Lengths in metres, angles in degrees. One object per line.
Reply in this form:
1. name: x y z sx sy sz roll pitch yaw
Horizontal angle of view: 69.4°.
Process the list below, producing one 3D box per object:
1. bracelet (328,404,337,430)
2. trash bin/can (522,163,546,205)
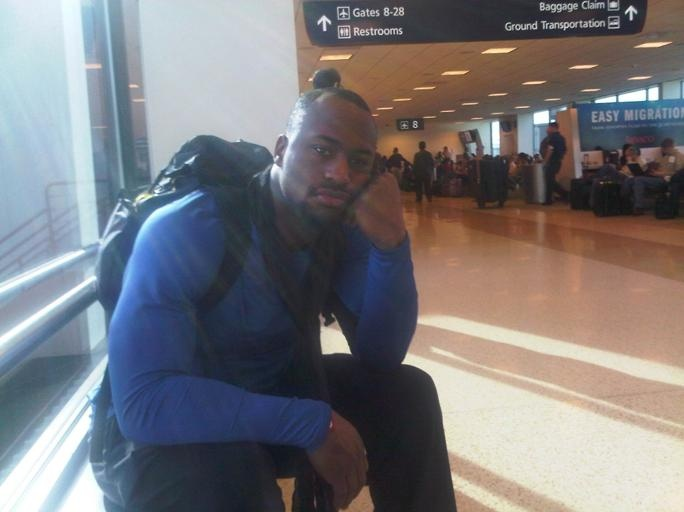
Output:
1. bracelet: -0.026 0.405 1.211 0.020 0.032 0.026 0 -27 -4
2. trash bin/can: 4.483 -1.682 11.423 0.438 0.949 1.060 -3 12 -7
